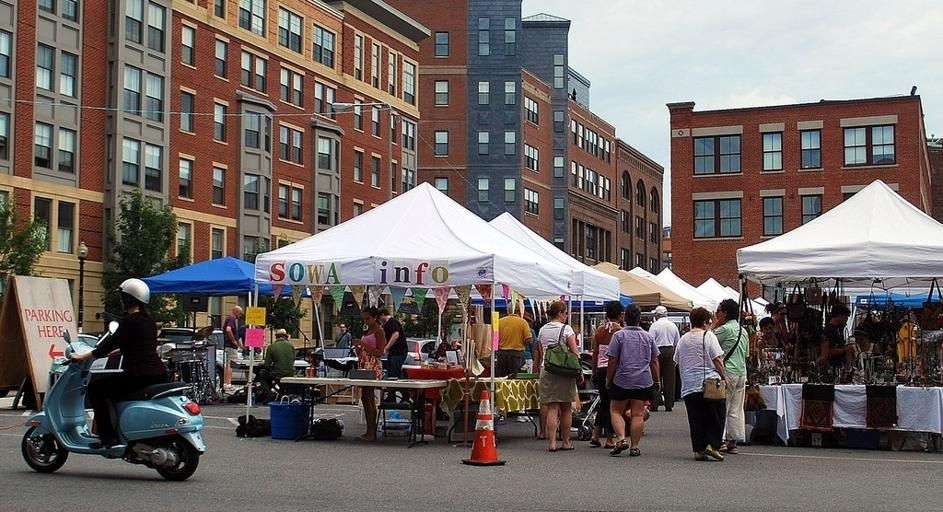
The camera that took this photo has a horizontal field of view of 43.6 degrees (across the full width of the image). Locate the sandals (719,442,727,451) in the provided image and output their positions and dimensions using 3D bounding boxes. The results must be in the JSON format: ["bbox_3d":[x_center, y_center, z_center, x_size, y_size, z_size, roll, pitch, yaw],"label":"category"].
[{"bbox_3d":[6.756,5.091,31.732,0.281,0.180,0.436,0,-10,3],"label":"sandals"}]

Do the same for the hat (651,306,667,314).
[{"bbox_3d":[6.254,1.802,39.882,0.561,0.255,0.402,8,2,37],"label":"hat"}]

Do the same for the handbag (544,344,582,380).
[{"bbox_3d":[2.471,2.778,31.847,1.124,0.905,0.500,16,-24,-21],"label":"handbag"}]

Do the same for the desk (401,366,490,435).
[{"bbox_3d":[-0.280,3.823,33.381,2.844,1.677,2.012,1,-1,24],"label":"desk"}]

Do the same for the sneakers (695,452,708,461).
[{"bbox_3d":[6.062,5.210,30.972,0.378,0.218,0.227,2,-8,-4],"label":"sneakers"}]

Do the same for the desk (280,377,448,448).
[{"bbox_3d":[-2.624,4.280,32.912,3.908,1.824,2.864,-2,-8,23],"label":"desk"}]

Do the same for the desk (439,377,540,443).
[{"bbox_3d":[0.585,3.997,33.297,2.764,1.226,1.995,-1,-2,26],"label":"desk"}]

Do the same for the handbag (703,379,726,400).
[{"bbox_3d":[6.320,3.451,30.647,0.606,0.438,0.265,3,3,-2],"label":"handbag"}]

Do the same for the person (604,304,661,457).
[{"bbox_3d":[4.260,3.275,31.264,1.298,3.959,1.000,1,-8,5],"label":"person"}]

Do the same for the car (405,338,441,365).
[{"bbox_3d":[-2.184,3.873,49.538,1.232,0.840,2.033,1,4,38],"label":"car"}]

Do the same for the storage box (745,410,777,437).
[{"bbox_3d":[8.167,4.671,33.162,0.893,0.540,0.829,1,-1,14],"label":"storage box"}]
